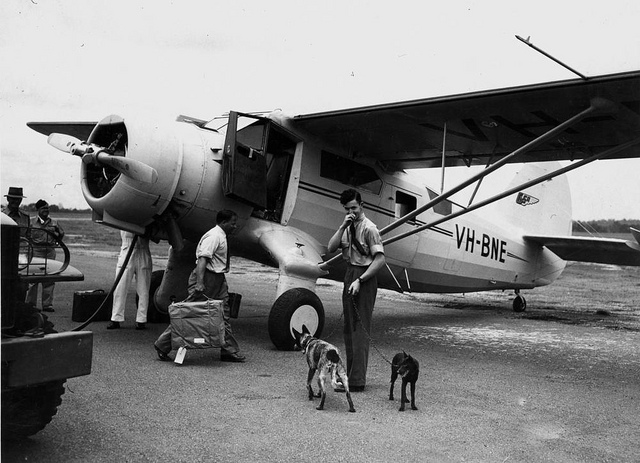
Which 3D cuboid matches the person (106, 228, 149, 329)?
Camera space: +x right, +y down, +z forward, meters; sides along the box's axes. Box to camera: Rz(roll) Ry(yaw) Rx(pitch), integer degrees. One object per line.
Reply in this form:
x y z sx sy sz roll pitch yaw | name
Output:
-2.689 0.652 7.760 0.531 0.960 1.060 3 1 -18 | person

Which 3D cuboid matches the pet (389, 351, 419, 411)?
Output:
0.783 1.348 5.066 0.256 0.478 0.402 3 1 8 | pet

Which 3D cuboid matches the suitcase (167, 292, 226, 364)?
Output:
-1.347 1.045 6.322 0.827 1.079 0.594 -1 -8 -6 | suitcase

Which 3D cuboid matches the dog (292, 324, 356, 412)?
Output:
0.000 1.251 5.110 0.314 0.652 1.039 -3 -2 -21 | dog

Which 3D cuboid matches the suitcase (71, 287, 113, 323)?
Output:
-3.304 1.075 7.949 0.293 0.514 0.557 4 2 43 | suitcase

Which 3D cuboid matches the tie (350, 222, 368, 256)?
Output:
0.369 0.086 5.463 0.070 0.276 0.273 -33 17 -2 | tie
